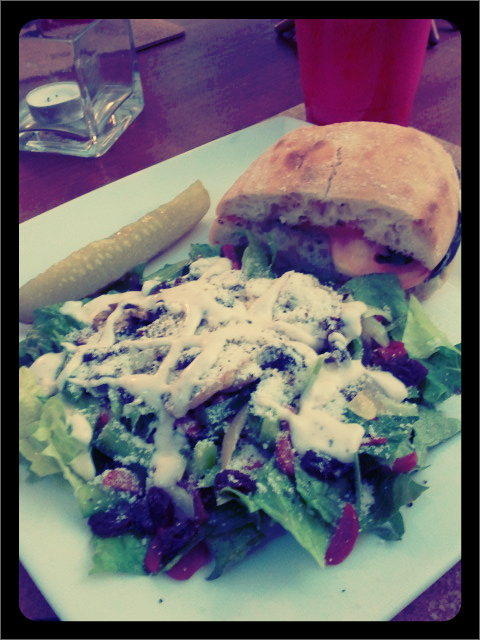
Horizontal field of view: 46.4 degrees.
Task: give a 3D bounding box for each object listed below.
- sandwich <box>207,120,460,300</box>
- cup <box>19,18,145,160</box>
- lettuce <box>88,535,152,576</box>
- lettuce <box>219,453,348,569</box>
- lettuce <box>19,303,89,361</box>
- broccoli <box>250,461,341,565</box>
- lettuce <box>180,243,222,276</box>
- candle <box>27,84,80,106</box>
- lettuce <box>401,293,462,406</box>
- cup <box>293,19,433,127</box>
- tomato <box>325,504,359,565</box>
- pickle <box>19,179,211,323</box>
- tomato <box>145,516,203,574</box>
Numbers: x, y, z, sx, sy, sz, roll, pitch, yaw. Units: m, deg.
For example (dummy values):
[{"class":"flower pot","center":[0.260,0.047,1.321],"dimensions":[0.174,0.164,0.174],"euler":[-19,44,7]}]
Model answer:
[{"class":"sandwich","center":[0.270,-0.266,1.304],"dimensions":[0.500,0.298,0.472],"euler":[16,56,33]},{"class":"cup","center":[-0.562,-0.761,1.804],"dimensions":[0.375,0.331,0.364],"euler":[-5,39,4]},{"class":"lettuce","center":[-0.194,0.389,0.918],"dimensions":[0.113,0.019,0.083],"euler":[-14,12,-13]},{"class":"lettuce","center":[0.075,0.306,0.978],"dimensions":[0.230,0.139,0.152],"euler":[-7,24,-19]},{"class":"lettuce","center":[-0.416,0.025,1.214],"dimensions":[0.125,0.035,0.116],"euler":[-2,51,-3]},{"class":"broccoli","center":[0.080,0.329,0.880],"dimensions":[0.037,0.203,0.116],"euler":[-27,57,32]},{"class":"lettuce","center":[-0.096,-0.156,1.378],"dimensions":[0.089,0.030,0.087],"euler":[-8,52,31]},{"class":"candle","center":[-0.568,-0.691,1.704],"dimensions":[0.156,0.018,0.099],"euler":[-10,53,-6]},{"class":"lettuce","center":[0.367,0.048,1.087],"dimensions":[0.128,0.043,0.180],"euler":[-28,72,5]},{"class":"cup","center":[0.302,-0.636,1.465],"dimensions":[0.323,0.365,0.138],"euler":[6,55,8]},{"class":"tomato","center":[0.166,0.347,0.891],"dimensions":[0.035,0.077,0.083],"euler":[24,58,19]},{"class":"pickle","center":[-0.304,-0.177,1.380],"dimensions":[0.348,0.282,0.616],"euler":[8,26,30]},{"class":"tomato","center":[-0.115,0.361,0.919],"dimensions":[0.113,0.038,0.059],"euler":[-32,58,-21]}]
